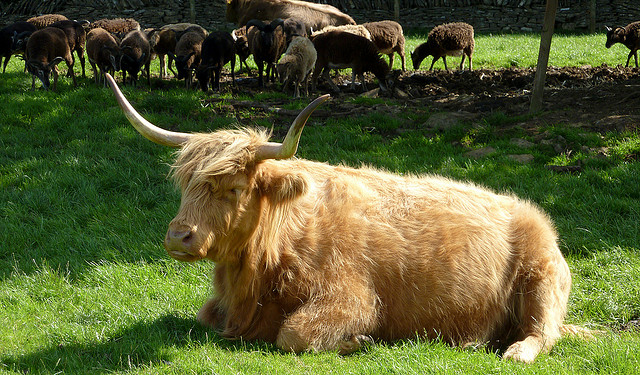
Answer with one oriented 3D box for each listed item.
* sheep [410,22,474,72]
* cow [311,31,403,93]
[{"bbox_3d":[4.596,-5.120,26.555,2.423,1.868,1.227,-3,12,15],"label":"sheep"},{"bbox_3d":[0.972,-3.916,22.600,3.046,2.145,0.832,11,12,13],"label":"cow"}]
